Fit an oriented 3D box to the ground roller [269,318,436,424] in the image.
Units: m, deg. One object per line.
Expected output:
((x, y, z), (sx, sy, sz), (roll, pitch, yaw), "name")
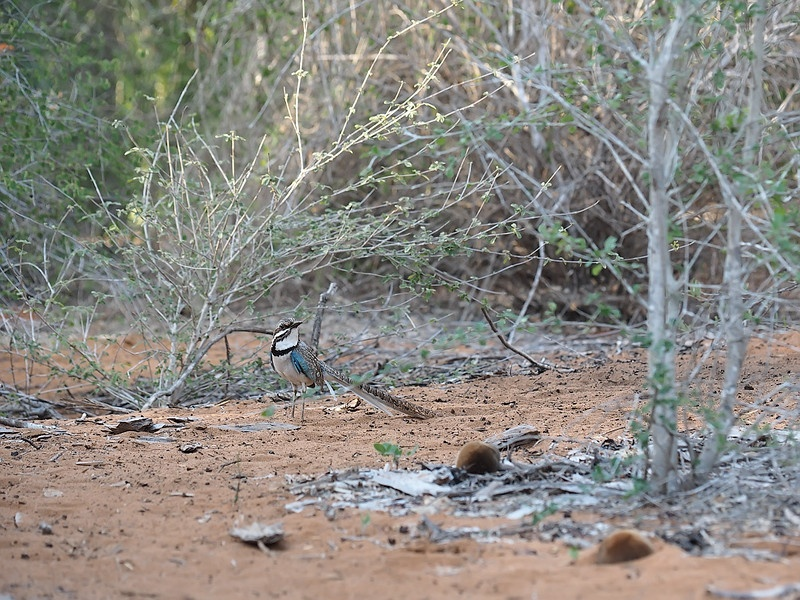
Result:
((-0.375, 0.626, 7.031), (1.396, 0.716, 0.395), (11, -9, -24), "ground roller")

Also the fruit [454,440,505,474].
((0.483, 0.962, 5.482), (0.209, 0.141, 0.222), (-3, 1, 1), "fruit")
